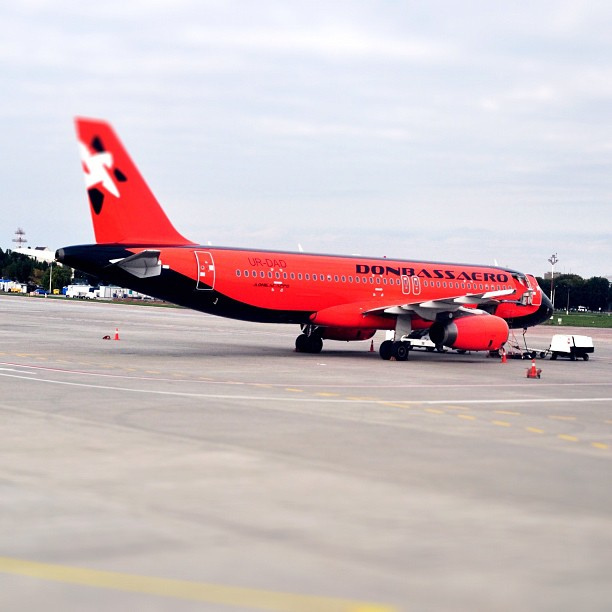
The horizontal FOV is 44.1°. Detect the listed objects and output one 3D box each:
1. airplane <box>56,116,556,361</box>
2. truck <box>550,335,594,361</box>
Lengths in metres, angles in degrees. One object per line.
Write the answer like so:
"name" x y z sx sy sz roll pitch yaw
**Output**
"airplane" 0.412 -1.141 28.863 15.354 3.778 13.496 1 2 -33
"truck" 11.714 1.747 33.339 1.900 0.774 1.142 0 0 -23
